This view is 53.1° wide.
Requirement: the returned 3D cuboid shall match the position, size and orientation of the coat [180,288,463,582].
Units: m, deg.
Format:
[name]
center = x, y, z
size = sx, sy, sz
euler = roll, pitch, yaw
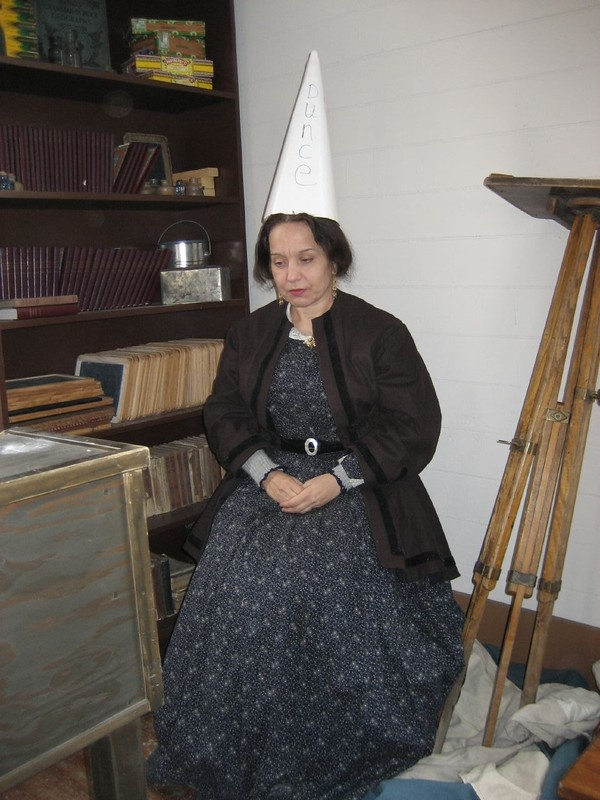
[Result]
[coat]
center = 0.103, 0.098, 1.812
size = 0.801, 0.758, 0.459
euler = 4, 16, 29
